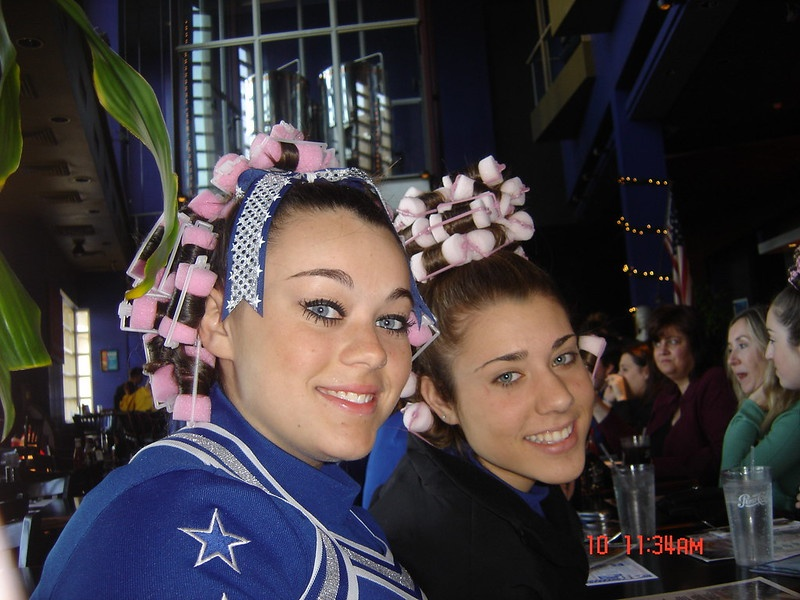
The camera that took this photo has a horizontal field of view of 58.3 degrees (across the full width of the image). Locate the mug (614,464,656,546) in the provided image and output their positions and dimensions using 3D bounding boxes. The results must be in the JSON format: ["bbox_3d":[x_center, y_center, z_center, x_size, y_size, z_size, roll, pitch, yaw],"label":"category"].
[{"bbox_3d":[0.724,0.617,2.218,0.141,0.239,0.134,-4,7,33],"label":"mug"}]

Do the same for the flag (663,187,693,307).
[{"bbox_3d":[2.481,-0.507,6.437,0.177,1.222,0.673,-6,-12,22],"label":"flag"}]

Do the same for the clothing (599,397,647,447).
[{"bbox_3d":[1.169,0.637,3.756,0.299,0.145,0.399,-3,5,1],"label":"clothing"}]

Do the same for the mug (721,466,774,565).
[{"bbox_3d":[0.988,0.597,1.988,0.164,0.265,0.086,0,-11,-10],"label":"mug"}]

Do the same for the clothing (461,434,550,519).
[{"bbox_3d":[0.291,0.548,2.076,0.245,0.141,0.194,31,-3,-1],"label":"clothing"}]

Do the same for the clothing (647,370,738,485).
[{"bbox_3d":[1.555,0.709,3.931,0.357,0.644,0.648,13,-17,-13],"label":"clothing"}]
